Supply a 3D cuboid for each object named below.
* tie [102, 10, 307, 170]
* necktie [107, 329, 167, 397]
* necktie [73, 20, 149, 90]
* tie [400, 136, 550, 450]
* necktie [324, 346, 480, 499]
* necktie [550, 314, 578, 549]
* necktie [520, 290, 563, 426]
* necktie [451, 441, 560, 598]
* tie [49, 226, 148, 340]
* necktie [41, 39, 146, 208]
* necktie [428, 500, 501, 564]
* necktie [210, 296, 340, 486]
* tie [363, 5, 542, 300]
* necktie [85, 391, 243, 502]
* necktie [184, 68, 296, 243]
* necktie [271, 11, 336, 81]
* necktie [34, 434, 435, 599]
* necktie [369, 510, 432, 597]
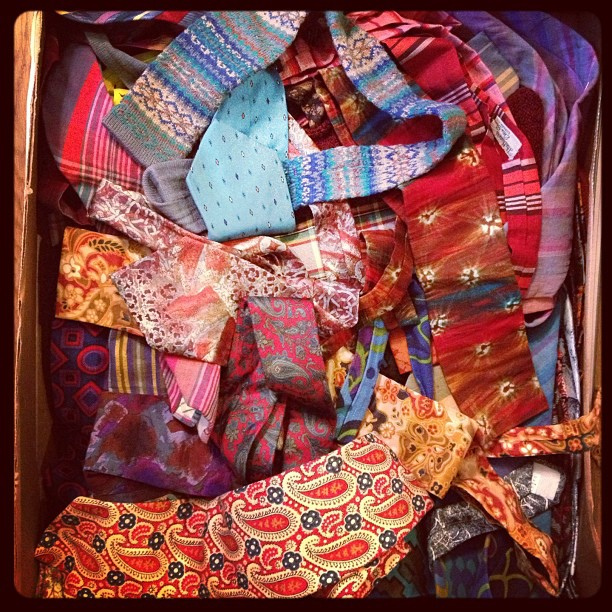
[{"bbox_3d":[-0.163,-0.336,0.935,0.420,0.145,0.024,-42,-1,-1],"label":"tie"},{"bbox_3d":[-0.244,0.079,0.848,0.108,0.110,0.012,-1,0,-9],"label":"necktie"},{"bbox_3d":[-0.293,-0.372,0.871,0.027,0.149,0.038,-33,31,46],"label":"necktie"},{"bbox_3d":[0.249,-0.022,0.883,0.142,0.452,0.093,-13,11,-13],"label":"tie"},{"bbox_3d":[0.152,0.177,0.905,0.146,0.258,0.065,-55,-7,-1],"label":"necktie"},{"bbox_3d":[0.376,0.204,0.895,0.049,0.296,0.025,1,-8,-12],"label":"necktie"},{"bbox_3d":[0.365,0.061,0.915,0.058,0.231,0.013,-6,-29,30],"label":"necktie"},{"bbox_3d":[0.293,0.288,0.878,0.070,0.057,0.206,-49,-2,-9],"label":"necktie"},{"bbox_3d":[-0.299,-0.069,0.915,0.146,0.040,0.164,-41,0,8],"label":"tie"},{"bbox_3d":[-0.389,-0.298,0.984,0.080,0.251,0.286,11,4,-21],"label":"necktie"},{"bbox_3d":[0.227,0.318,0.864,0.112,0.029,0.092,-19,26,13],"label":"necktie"},{"bbox_3d":[-0.050,0.118,0.925,0.234,0.245,0.068,-3,7,-1],"label":"necktie"},{"bbox_3d":[0.215,-0.210,0.996,0.294,0.462,0.081,-13,-2,-23],"label":"tie"},{"bbox_3d":[-0.242,0.214,0.863,0.233,0.156,0.057,2,-43,-19],"label":"necktie"},{"bbox_3d":[-0.087,-0.219,0.873,0.205,0.239,0.058,-7,-4,-14],"label":"necktie"},{"bbox_3d":[0.001,-0.398,0.905,0.105,0.096,0.039,-13,-2,-3],"label":"necktie"},{"bbox_3d":[-0.132,0.290,0.841,0.573,0.274,0.083,-11,-12,22],"label":"necktie"},{"bbox_3d":[0.152,0.377,0.893,0.118,0.088,0.029,-46,-13,-17],"label":"necktie"}]
